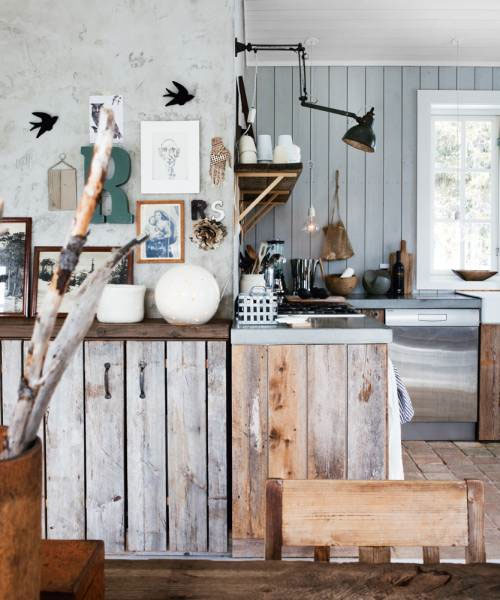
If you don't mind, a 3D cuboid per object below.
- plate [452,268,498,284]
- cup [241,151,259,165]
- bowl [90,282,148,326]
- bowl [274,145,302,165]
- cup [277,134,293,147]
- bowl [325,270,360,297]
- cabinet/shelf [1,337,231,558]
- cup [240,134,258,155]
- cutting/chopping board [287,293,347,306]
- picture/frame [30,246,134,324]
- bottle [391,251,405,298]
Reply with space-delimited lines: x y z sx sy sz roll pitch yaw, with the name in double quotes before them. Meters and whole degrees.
"plate" 1.316 -0.142 5.848 0.253 0.071 0.176 0 8 16
"cup" -0.004 -0.608 4.240 0.078 0.057 0.087 -3 7 -8
"bowl" -0.485 0.023 3.966 0.130 0.140 0.149 -4 -5 -12
"bowl" 0.155 -0.615 4.250 0.081 0.103 0.094 3 10 15
"cup" 0.157 -0.695 4.371 0.054 0.064 0.054 0 9 0
"bowl" 0.503 -0.077 5.513 0.120 0.113 0.131 -1 -2 0
"cabinet/shelf" -0.460 0.492 3.583 0.653 0.854 0.308 0 -1 1
"cup" -0.010 -0.652 4.224 0.047 0.076 0.074 -2 -6 0
"cutting/chopping board" 0.334 -0.001 5.071 0.308 0.022 0.473 -1 8 7
"picture/frame" -0.539 -0.044 3.252 0.220 0.216 0.012 -1 3 1
"bottle" 0.844 -0.142 5.682 0.075 0.241 0.288 0 7 8
